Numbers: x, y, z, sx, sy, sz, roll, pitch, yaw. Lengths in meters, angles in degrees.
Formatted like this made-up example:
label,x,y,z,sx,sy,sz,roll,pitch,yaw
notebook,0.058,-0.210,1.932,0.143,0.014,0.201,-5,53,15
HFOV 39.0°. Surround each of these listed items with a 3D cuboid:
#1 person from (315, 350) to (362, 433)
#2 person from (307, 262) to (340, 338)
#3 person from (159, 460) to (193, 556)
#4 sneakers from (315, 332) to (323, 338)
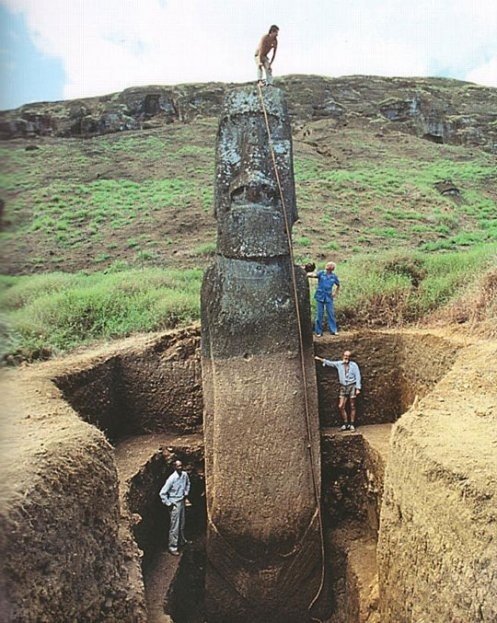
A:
label,x,y,z,sx,sy,sz,roll,pitch,yaw
person,1.077,0.881,8.046,0.458,0.926,0.437,3,10,42
person,0.891,-0.154,8.322,0.325,0.869,0.987,-3,7,6
person,-0.762,2.066,7.420,0.276,1.068,0.493,-4,7,-3
sneakers,0.818,0.273,8.287,0.048,0.054,0.135,0,-13,6
